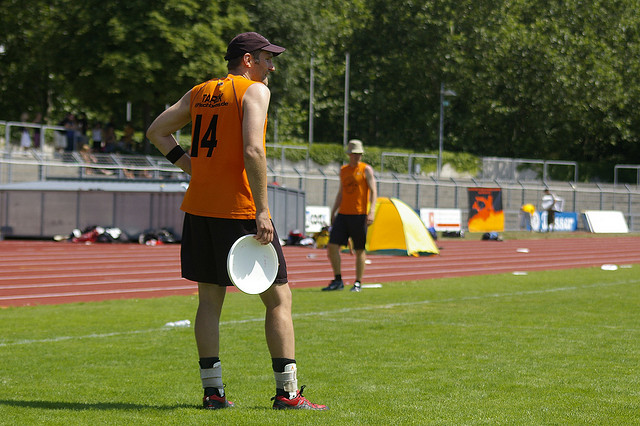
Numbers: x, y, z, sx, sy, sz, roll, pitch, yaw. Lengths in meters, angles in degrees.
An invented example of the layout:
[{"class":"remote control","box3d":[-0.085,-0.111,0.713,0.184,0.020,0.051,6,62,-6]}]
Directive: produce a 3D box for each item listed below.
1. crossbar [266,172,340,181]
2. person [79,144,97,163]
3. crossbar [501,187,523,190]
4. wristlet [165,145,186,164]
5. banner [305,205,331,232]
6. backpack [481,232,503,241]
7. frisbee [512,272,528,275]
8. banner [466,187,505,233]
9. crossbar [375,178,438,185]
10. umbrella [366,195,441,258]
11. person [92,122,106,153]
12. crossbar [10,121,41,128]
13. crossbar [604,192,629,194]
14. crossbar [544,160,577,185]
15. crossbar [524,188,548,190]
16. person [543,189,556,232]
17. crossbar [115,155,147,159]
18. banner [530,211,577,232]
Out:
[{"class":"crossbar","box3d":[-0.923,-1.847,60.910,1.002,0.326,4.793,-3,-3,44]},{"class":"person","box3d":[-10.981,-2.812,58.149,0.807,0.971,1.500,0,-2,-11]},{"class":"crossbar","box3d":[10.501,-1.338,67.202,1.339,0.097,0.134,0,-2,-31]},{"class":"wristlet","box3d":[-4.887,-1.979,41.451,0.604,0.178,0.591,-41,17,16]},{"class":"banner","box3d":[-0.102,0.312,59.108,0.093,1.360,2.148,2,-1,-36]},{"class":"backpack","box3d":[8.478,1.097,59.834,0.670,0.232,0.460,13,-5,-28]},{"class":"frisbee","box3d":[8.087,2.432,49.901,0.568,0.096,0.659,-1,-2,4]},{"class":"banner","box3d":[8.656,-0.110,64.986,2.256,2.443,0.121,2,-7,-30]},{"class":"crossbar","box3d":[4.472,-1.633,64.001,3.969,0.289,0.573,0,-2,-34]},{"class":"umbrella","box3d":[3.578,0.582,52.502,2.818,1.856,2.339,5,10,27]},{"class":"person","box3d":[-11.083,-3.794,61.599,0.651,1.539,1.546,0,-2,-11]},{"class":"crossbar","box3d":[-13.824,-4.153,57.667,0.703,0.204,1.972,-2,-2,23]},{"class":"crossbar","box3d":[16.975,-1.151,70.247,1.406,0.110,0.249,0,-2,-25]},{"class":"crossbar","box3d":[14.434,-2.398,74.141,1.434,1.141,0.211,3,10,16]},{"class":"crossbar","box3d":[11.831,-1.340,68.031,1.528,0.098,0.159,0,-2,-36]},{"class":"person","box3d":[12.394,-0.164,66.207,0.554,2.225,0.877,-1,-2,11]},{"class":"crossbar","box3d":[-8.941,-2.651,58.558,1.352,0.169,0.389,-1,-2,-9]},{"class":"banner","box3d":[12.713,0.465,67.049,1.766,0.622,1.297,-1,3,-37]}]
